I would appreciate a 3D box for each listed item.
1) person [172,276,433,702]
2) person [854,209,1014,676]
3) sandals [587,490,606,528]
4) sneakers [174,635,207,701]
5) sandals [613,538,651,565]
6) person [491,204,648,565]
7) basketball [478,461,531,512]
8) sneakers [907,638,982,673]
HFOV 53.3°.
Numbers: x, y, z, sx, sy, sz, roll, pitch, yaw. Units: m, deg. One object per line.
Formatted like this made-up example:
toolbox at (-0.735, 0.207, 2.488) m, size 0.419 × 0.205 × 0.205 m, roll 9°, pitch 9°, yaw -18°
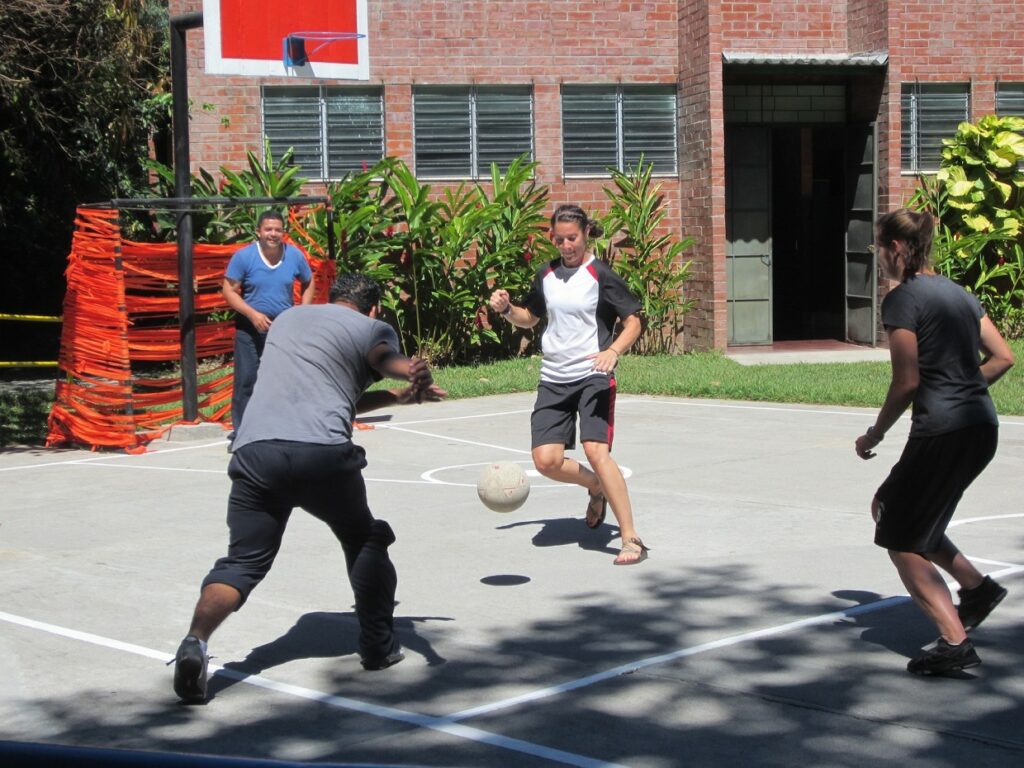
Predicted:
person at (-0.933, 0.458, 4.895) m, size 1.122 × 1.932 × 0.541 m, roll -3°, pitch 7°, yaw -16°
person at (2.084, 0.252, 4.997) m, size 0.688 × 2.186 × 0.572 m, roll -7°, pitch 9°, yaw -43°
sandals at (0.623, 0.943, 7.640) m, size 0.110 × 0.312 × 0.085 m, roll 3°, pitch 11°, yaw 16°
sneakers at (-1.425, 1.285, 4.569) m, size 0.120 × 0.302 × 0.138 m, roll 1°, pitch 3°, yaw -5°
sandals at (0.801, 1.106, 6.769) m, size 0.256 × 0.183 × 0.141 m, roll -3°, pitch 7°, yaw -15°
person at (0.436, -0.022, 7.079) m, size 1.051 × 2.381 × 0.856 m, roll 0°, pitch 6°, yaw 15°
basketball at (-0.057, 0.651, 6.302) m, size 0.295 × 0.328 × 0.236 m, roll -2°, pitch 6°, yaw -4°
sneakers at (2.038, 1.286, 4.853) m, size 0.329 × 0.147 × 0.141 m, roll -1°, pitch 1°, yaw -2°
